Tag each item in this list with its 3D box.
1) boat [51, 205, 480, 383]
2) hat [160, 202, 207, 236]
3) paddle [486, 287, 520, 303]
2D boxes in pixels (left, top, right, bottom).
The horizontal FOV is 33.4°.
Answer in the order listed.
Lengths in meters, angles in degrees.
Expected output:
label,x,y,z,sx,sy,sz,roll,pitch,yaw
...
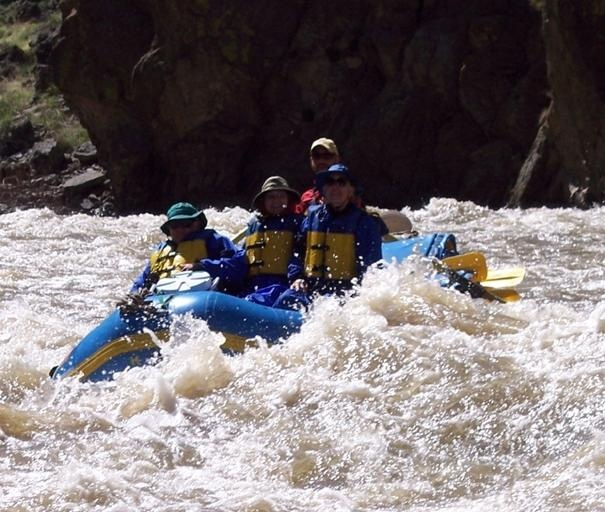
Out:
label,x,y,z,sx,sy,sz,roll,pitch,yaw
boat,-0.220,0.464,8.346,2.921,0.550,1.391,-23,32,-18
hat,-1.075,-0.384,8.979,0.286,0.161,0.322,-13,-20,-4
paddle,1.810,0.355,9.143,0.309,0.124,0.482,1,13,10
